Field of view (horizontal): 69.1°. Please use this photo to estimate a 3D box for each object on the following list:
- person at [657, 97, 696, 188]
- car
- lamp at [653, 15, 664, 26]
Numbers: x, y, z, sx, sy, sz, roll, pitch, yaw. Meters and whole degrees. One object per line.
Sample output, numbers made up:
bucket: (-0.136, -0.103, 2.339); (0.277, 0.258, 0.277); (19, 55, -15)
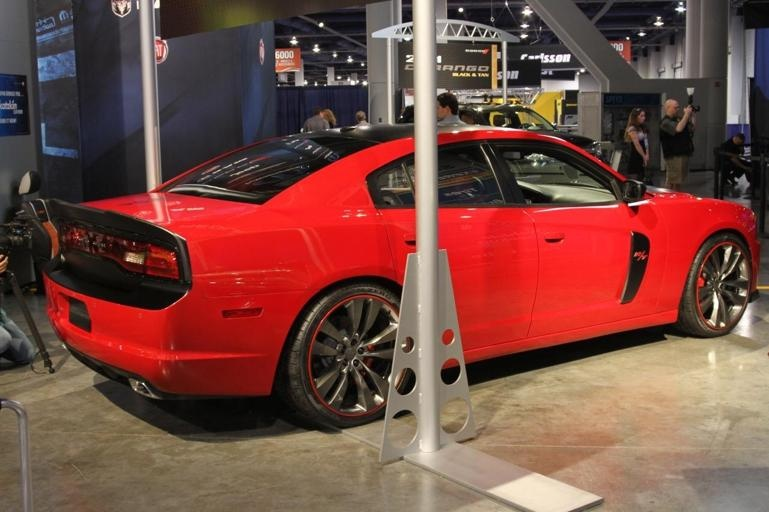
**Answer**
person: (6.383, -2.252, 12.088); (0.767, 2.194, 0.876); (1, 17, 37)
car: (0.399, -0.117, 4.738); (5.209, 1.595, 2.358); (-7, 13, -25)
lamp: (23.469, -20.044, 47.692); (0.719, 0.600, 2.478); (4, 12, 25)
